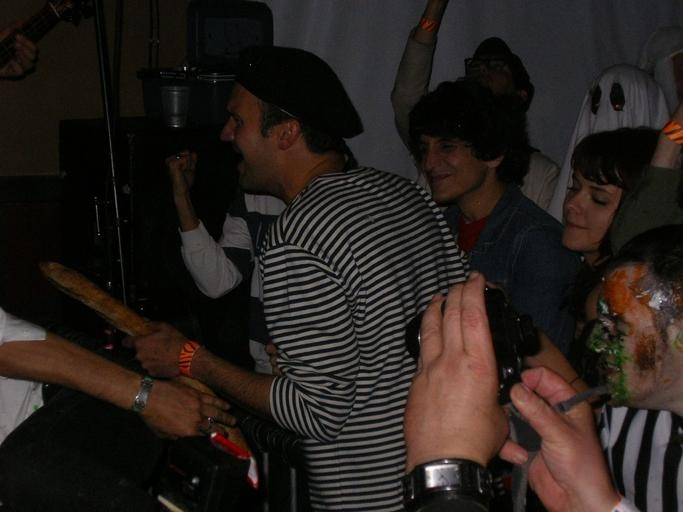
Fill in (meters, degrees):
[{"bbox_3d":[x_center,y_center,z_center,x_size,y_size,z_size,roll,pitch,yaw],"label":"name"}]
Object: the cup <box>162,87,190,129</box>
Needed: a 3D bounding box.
[{"bbox_3d":[-0.818,-0.733,3.345,0.148,0.189,0.153,2,16,-1],"label":"cup"}]
